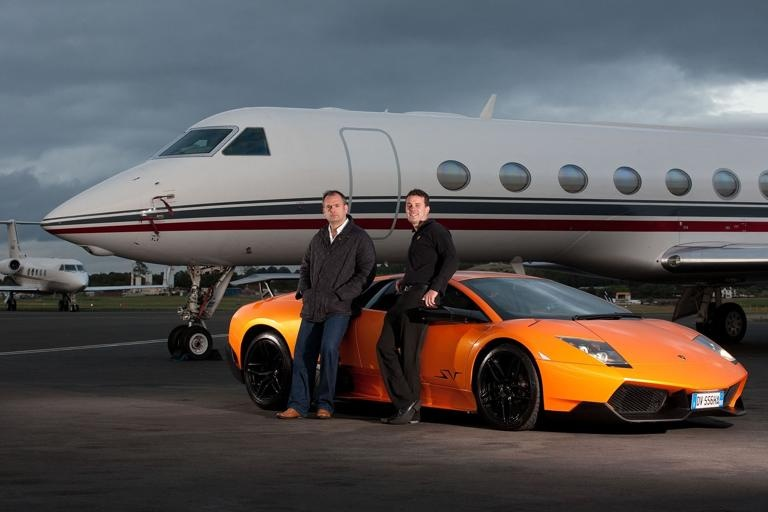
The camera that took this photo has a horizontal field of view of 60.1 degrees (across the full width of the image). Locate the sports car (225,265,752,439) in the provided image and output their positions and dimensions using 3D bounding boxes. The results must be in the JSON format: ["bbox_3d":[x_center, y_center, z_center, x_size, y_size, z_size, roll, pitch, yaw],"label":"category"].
[{"bbox_3d":[1.114,1.089,7.519,4.277,1.025,2.526,-2,-4,26],"label":"sports car"}]

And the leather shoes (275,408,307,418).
[{"bbox_3d":[-1.059,1.808,7.653,0.313,0.112,0.120,6,-9,-21],"label":"leather shoes"}]

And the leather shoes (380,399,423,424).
[{"bbox_3d":[0.250,1.734,7.383,0.529,0.192,0.182,-8,6,-33],"label":"leather shoes"}]
